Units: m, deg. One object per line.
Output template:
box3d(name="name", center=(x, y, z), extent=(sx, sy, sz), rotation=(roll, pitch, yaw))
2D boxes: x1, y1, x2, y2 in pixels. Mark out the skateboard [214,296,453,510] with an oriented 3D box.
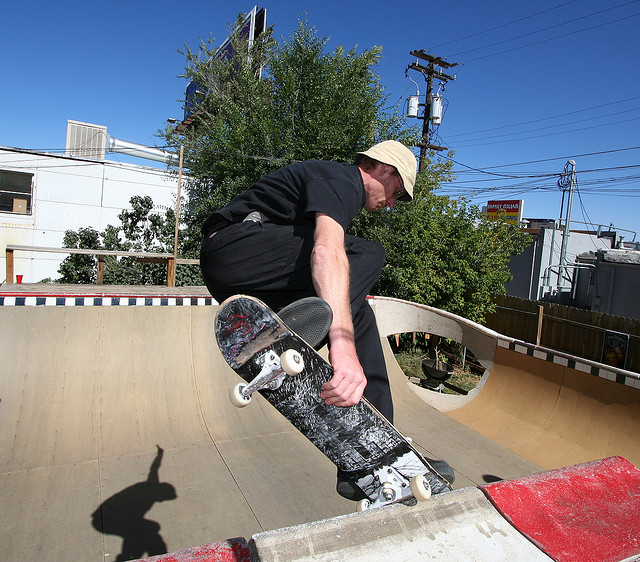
box3d(name="skateboard", center=(0.034, 0.869, 2.890), extent=(0.497, 1.979, 0.302), rotation=(-41, 5, 26))
